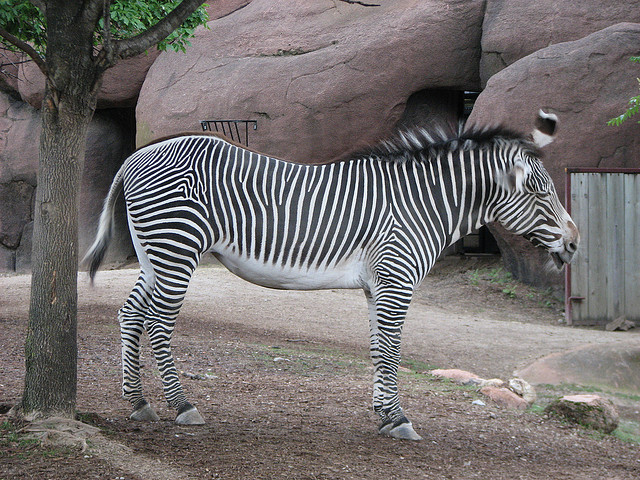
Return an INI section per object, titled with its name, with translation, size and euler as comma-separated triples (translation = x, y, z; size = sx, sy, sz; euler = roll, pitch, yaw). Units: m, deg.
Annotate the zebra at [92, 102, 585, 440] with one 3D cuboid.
[zebra]
translation = -0.016, 0.290, 10.377
size = 4.774, 3.365, 1.327
euler = 2, 12, -13
